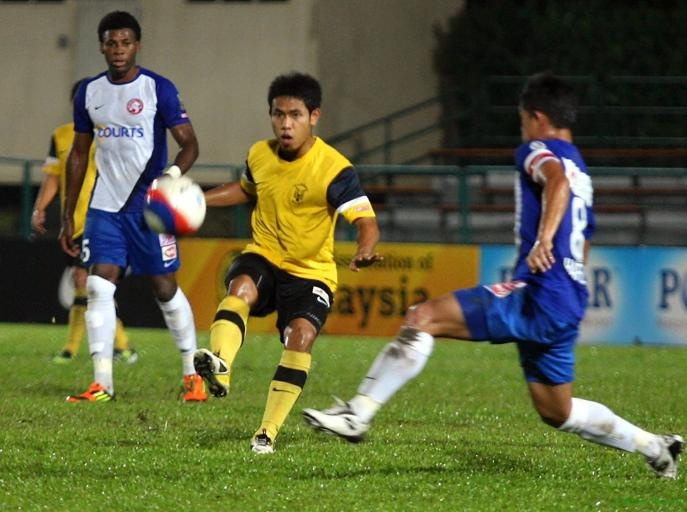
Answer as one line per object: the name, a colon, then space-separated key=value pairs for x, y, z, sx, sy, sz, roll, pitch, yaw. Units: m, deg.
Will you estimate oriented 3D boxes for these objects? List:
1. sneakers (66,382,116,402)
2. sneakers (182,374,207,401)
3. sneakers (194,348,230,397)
sneakers: x=-2.237 y=1.235 z=11.030 sx=0.443 sy=0.195 sz=0.166 roll=6 pitch=-6 yaw=-20
sneakers: x=-1.363 y=1.213 z=11.289 sx=0.192 sy=0.210 sz=0.459 roll=0 pitch=-11 yaw=-10
sneakers: x=-0.998 y=0.879 z=9.685 sx=0.167 sy=0.474 sz=0.231 roll=-9 pitch=30 yaw=17
